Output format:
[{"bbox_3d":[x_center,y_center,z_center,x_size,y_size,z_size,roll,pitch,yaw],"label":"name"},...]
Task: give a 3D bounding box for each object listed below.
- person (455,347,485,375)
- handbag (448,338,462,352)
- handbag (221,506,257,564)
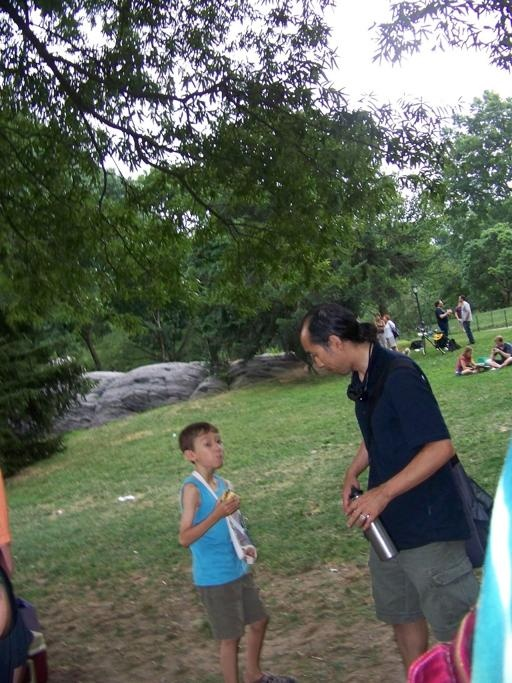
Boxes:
[{"bbox_3d":[5.337,0.571,15.054,0.671,0.755,0.841,-2,8,13],"label":"person"},{"bbox_3d":[6.629,0.123,20.323,0.373,0.462,0.172,-8,-11,34],"label":"handbag"},{"bbox_3d":[-0.079,1.051,3.275,0.086,0.279,0.164,-23,-3,40],"label":"handbag"}]
